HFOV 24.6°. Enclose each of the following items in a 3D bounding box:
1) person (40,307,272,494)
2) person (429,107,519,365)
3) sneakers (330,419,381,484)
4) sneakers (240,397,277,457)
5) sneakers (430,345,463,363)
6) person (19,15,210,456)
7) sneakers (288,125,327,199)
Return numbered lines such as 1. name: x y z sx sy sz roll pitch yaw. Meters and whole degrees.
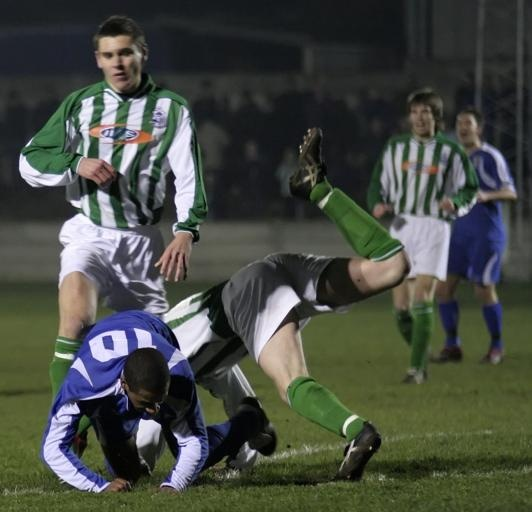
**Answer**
1. person: -0.556 0.697 5.312 0.577 0.693 0.861 2 26 -9
2. person: 1.065 -0.104 6.249 0.430 1.282 0.321 -1 6 12
3. sneakers: 0.385 0.847 5.257 0.108 0.333 0.150 20 24 -25
4. sneakers: -0.002 0.835 5.772 0.110 0.321 0.132 -17 15 15
5. sneakers: 0.926 0.498 6.235 0.168 0.085 0.065 -2 -12 13
6. person: -0.709 -0.088 5.986 0.926 2.122 1.329 -2 -6 21
7. sneakers: 0.192 -0.420 5.628 0.122 0.384 0.160 17 10 31
